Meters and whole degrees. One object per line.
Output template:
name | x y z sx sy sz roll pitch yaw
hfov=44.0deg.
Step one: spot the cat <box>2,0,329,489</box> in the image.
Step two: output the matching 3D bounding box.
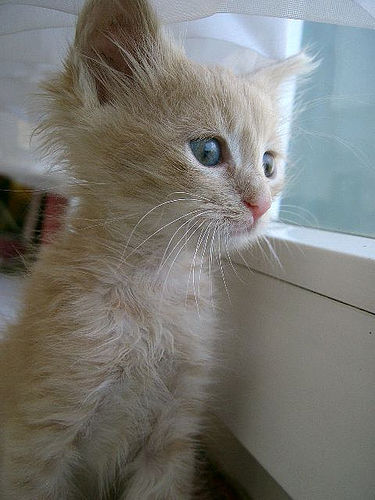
cat | -0.018 0.001 0.442 0.312 0.415 0.205 -2 27 -16
